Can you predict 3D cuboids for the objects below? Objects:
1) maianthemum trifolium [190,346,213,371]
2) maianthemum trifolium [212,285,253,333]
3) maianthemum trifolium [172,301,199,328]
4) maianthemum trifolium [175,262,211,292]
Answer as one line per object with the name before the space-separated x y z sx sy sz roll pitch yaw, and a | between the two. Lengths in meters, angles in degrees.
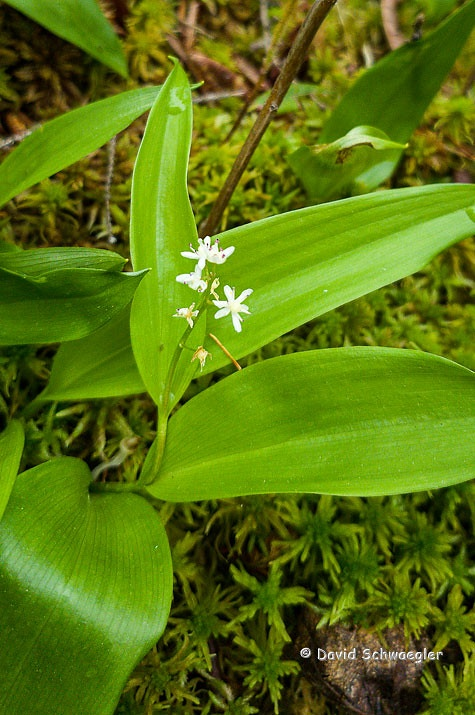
maianthemum trifolium | -0.086 0.005 1.333 0.046 0.044 0.044 -1 -35 -44
maianthemum trifolium | -0.003 -0.102 1.199 0.066 0.021 0.079 31 7 34
maianthemum trifolium | -0.111 -0.091 1.239 0.026 0.069 0.069 -18 -15 26
maianthemum trifolium | -0.088 -0.164 1.179 0.066 0.062 0.032 29 5 -1
